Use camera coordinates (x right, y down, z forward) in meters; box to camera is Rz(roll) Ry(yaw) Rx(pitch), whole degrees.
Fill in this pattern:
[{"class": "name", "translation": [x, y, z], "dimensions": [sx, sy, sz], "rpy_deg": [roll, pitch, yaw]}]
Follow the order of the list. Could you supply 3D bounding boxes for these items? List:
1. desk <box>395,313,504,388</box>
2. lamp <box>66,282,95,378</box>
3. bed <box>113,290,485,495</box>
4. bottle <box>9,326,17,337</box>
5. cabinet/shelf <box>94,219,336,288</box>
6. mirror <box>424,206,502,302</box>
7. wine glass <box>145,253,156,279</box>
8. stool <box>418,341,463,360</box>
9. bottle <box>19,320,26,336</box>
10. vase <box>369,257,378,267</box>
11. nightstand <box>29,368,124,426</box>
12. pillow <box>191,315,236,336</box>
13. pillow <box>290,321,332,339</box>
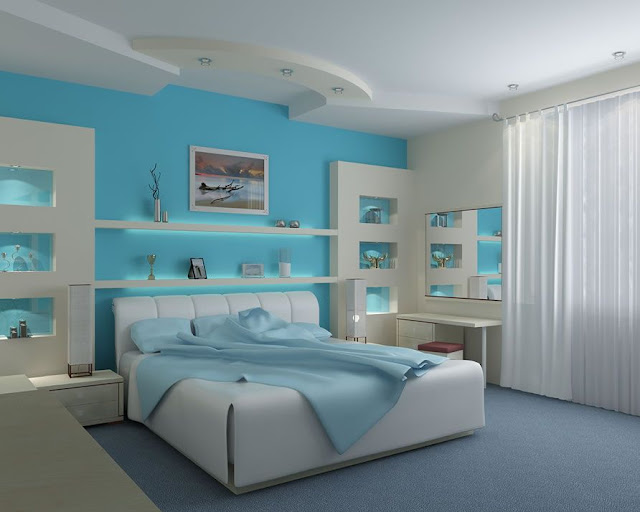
[{"class": "desk", "translation": [1.451, 1.263, 6.137], "dimensions": [1.631, 0.865, 0.635], "rpy_deg": [-5, -6, 41]}, {"class": "lamp", "translation": [-2.269, 0.706, 4.377], "dimensions": [0.206, 0.868, 0.283], "rpy_deg": [0, 0, -30]}, {"class": "bed", "translation": [-0.724, 1.194, 3.842], "dimensions": [1.987, 0.837, 1.975], "rpy_deg": [1, -2, -36]}, {"class": "bottle", "translation": [-2.862, 0.718, 4.301], "dimensions": [0.068, 0.105, 0.017], "rpy_deg": [0, 0, -34]}, {"class": "cabinet/shelf", "translation": [-1.128, -0.021, 5.386], "dimensions": [2.702, 0.723, 0.457], "rpy_deg": [0, 0, -24]}, {"class": "mirror", "translation": [1.984, -0.029, 6.266], "dimensions": [1.533, 1.263, 0.199], "rpy_deg": [-3, 6, -41]}, {"class": "wine glass", "translation": [-1.819, 0.114, 4.987], "dimensions": [0.083, 0.285, 0.147], "rpy_deg": [0, 0, -18]}, {"class": "stool", "translation": [1.476, 1.061, 5.616], "dimensions": [0.357, 0.336, 0.351], "rpy_deg": [1, 0, 42]}, {"class": "bottle", "translation": [-2.799, 0.692, 4.347], "dimensions": [0.069, 0.160, 0.015], "rpy_deg": [0, 0, -33]}, {"class": "vase", "translation": [0.758, 0.094, 6.449], "dimensions": [0.106, 0.139, 0.052], "rpy_deg": [6, -20, -8]}, {"class": "nightstand", "translation": [-2.069, 1.272, 4.147], "dimensions": [0.724, 0.346, 0.491], "rpy_deg": [2, -3, -32]}, {"class": "pillow", "translation": [-1.168, 0.718, 4.794], "dimensions": [0.282, 0.072, 0.259], "rpy_deg": [-4, 6, -35]}, {"class": "pillow", "translation": [-0.112, 0.832, 5.093], "dimensions": [0.351, 0.097, 0.314], "rpy_deg": [3, -1, -28]}]
